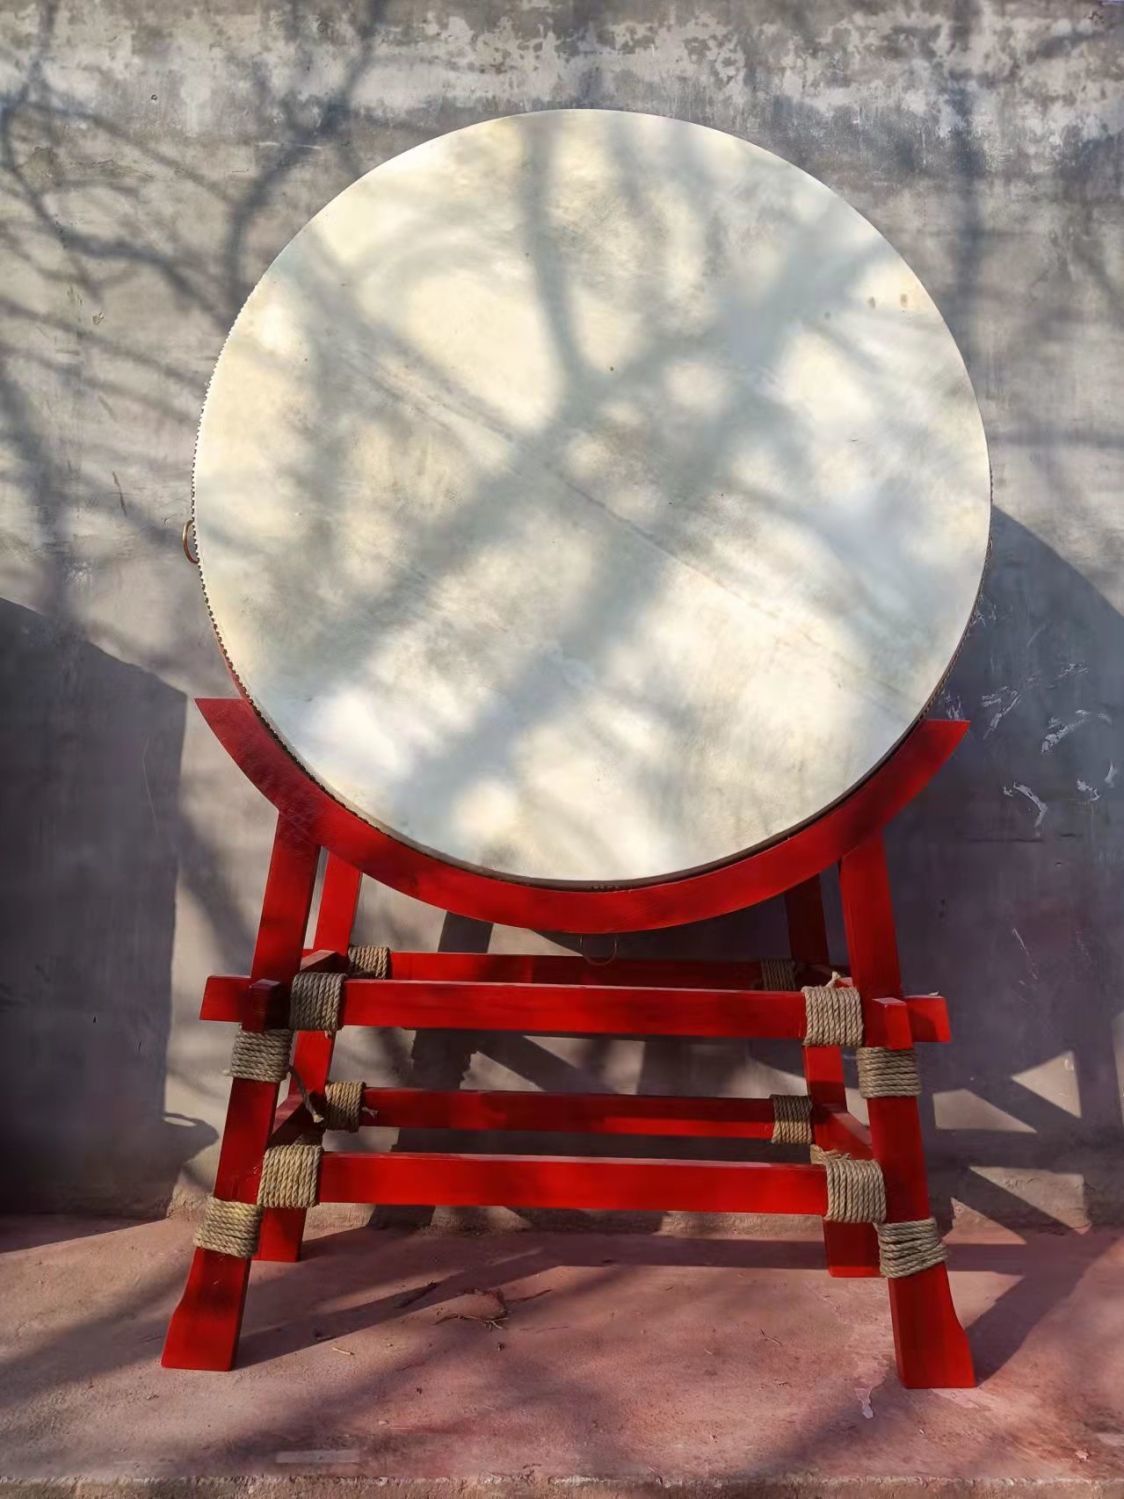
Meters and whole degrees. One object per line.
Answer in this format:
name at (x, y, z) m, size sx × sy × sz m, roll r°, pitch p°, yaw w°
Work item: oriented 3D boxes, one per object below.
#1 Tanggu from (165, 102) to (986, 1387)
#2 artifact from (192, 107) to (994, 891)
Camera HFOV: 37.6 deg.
Tanggu at (0.018, -0.081, 2.619) m, size 1.279 × 1.642 × 0.982 m, roll -1°, pitch 8°, yaw -9°
artifact at (0.042, -0.372, 2.272) m, size 1.083 × 0.756 × 0.821 m, roll -5°, pitch 38°, yaw -6°
